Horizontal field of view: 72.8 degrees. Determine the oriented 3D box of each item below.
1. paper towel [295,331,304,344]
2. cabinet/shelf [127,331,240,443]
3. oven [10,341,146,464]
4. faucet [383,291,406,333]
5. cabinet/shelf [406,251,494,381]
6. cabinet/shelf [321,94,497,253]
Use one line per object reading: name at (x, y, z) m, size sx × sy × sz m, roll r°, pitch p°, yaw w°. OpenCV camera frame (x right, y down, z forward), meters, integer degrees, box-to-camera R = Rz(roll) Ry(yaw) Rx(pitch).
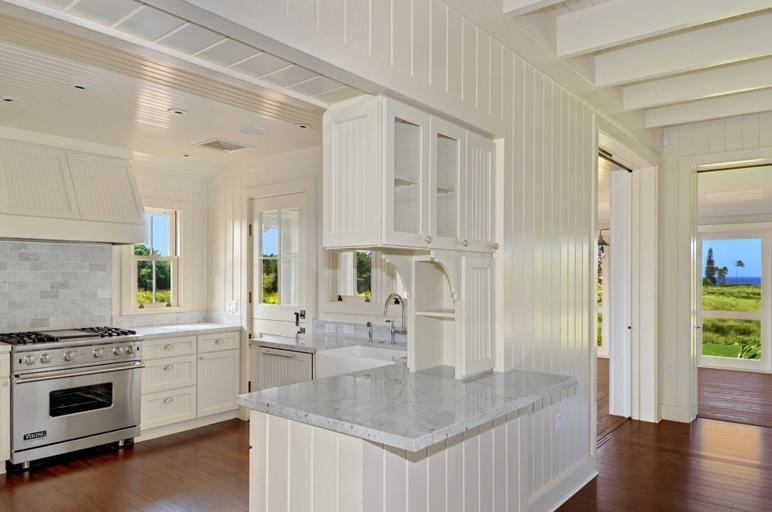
paper towel at (-0.948, 0.920, 5.823) m, size 0.140 × 0.117 × 0.073 m, roll 2°, pitch 7°, yaw 28°
cabinet/shelf at (-2.334, 1.503, 5.904) m, size 0.661 × 1.058 × 1.286 m, roll -6°, pitch -6°, yaw 40°
oven at (-3.211, 1.315, 5.766) m, size 1.120 × 1.466 × 1.544 m, roll -6°, pitch -7°, yaw 41°
faucet at (0.103, 0.586, 5.298) m, size 0.199 × 0.401 × 0.313 m, roll 0°, pitch 3°, yaw -9°
cabinet/shelf at (0.501, 0.439, 4.004) m, size 0.433 × 0.936 × 0.672 m, roll 3°, pitch 4°, yaw 42°
cabinet/shelf at (0.135, -0.556, 3.572) m, size 0.520 × 0.798 × 1.331 m, roll -4°, pitch -5°, yaw 41°
